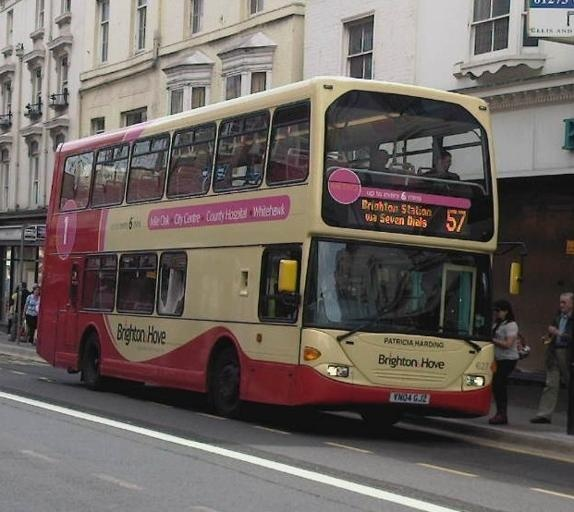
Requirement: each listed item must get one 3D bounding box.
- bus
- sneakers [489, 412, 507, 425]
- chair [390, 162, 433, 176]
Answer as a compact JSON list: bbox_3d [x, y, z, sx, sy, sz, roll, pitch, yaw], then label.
[{"bbox_3d":[-1.123,0.066,13.285,3.800,5.646,10.881,3,-6,-31],"label":"bus"},{"bbox_3d":[3.297,2.562,10.761,0.343,0.287,0.125,4,-4,-18],"label":"sneakers"},{"bbox_3d":[1.614,-1.120,8.993,0.319,0.145,0.258,10,-7,-13],"label":"chair"}]
